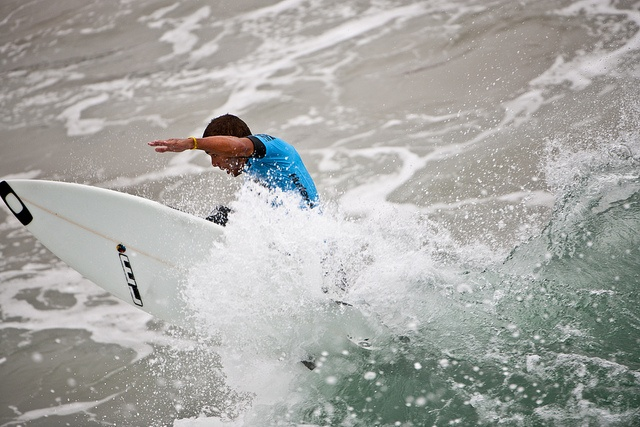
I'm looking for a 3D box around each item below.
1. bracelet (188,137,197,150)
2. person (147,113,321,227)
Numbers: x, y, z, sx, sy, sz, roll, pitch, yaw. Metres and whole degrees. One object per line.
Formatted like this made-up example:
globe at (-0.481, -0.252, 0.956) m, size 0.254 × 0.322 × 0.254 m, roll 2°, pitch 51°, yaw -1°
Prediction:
bracelet at (-0.950, -0.525, 5.230) m, size 0.052 × 0.081 × 0.086 m, roll -2°, pitch 82°, yaw 6°
person at (-0.649, -0.460, 5.535) m, size 0.906 × 1.080 × 0.586 m, roll -14°, pitch 52°, yaw 9°
